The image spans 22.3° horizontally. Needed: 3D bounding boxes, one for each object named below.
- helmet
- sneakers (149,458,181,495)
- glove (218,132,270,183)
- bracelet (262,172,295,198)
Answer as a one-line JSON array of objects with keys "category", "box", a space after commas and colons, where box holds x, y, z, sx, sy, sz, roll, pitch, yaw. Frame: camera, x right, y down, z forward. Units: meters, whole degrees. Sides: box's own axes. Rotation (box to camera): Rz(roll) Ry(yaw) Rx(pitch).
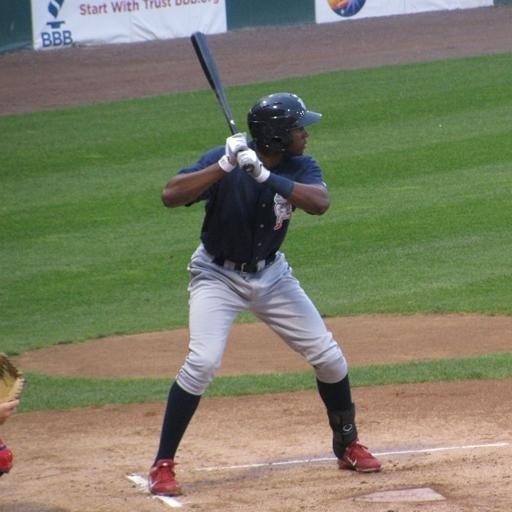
[{"category": "helmet", "box": [0.252, -1.197, 11.540, 0.629, 0.472, 0.452, 3, 13, 1]}, {"category": "sneakers", "box": [-0.804, 1.927, 11.241, 0.293, 0.278, 0.176, 0, 13, -4]}, {"category": "glove", "box": [-0.116, -0.843, 11.080, 0.405, 0.397, 0.122, 18, 15, 24]}, {"category": "bracelet", "box": [0.204, -0.606, 11.155, 0.214, 0.091, 0.222, 26, -2, 29]}]
